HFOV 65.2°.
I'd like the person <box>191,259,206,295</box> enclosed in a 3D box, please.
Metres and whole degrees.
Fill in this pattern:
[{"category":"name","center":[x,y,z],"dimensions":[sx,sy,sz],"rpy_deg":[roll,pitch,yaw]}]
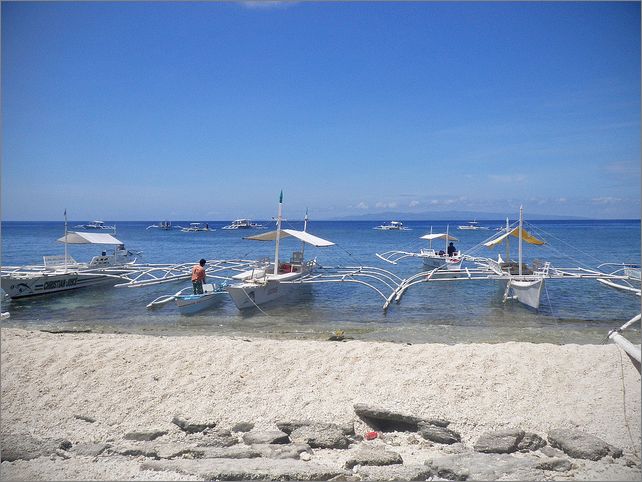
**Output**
[{"category":"person","center":[-4.633,1.364,18.934],"dimensions":[0.449,1.410,1.499],"rpy_deg":[0,4,-14]}]

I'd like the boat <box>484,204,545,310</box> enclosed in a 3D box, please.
[{"category":"boat","center":[8.670,0.509,22.192],"dimensions":[2.397,3.942,8.263],"rpy_deg":[2,4,19]}]

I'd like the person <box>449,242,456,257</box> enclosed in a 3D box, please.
[{"category":"person","center":[7.695,0.463,29.687],"dimensions":[0.307,0.769,1.335],"rpy_deg":[2,4,14]}]

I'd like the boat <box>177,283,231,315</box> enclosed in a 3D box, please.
[{"category":"boat","center":[-4.588,2.192,19.151],"dimensions":[0.669,0.921,2.243],"rpy_deg":[2,4,21]}]

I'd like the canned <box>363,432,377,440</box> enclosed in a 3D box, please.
[{"category":"canned","center":[1.000,3.912,10.079],"dimensions":[0.306,0.103,0.186],"rpy_deg":[-1,4,-30]}]
